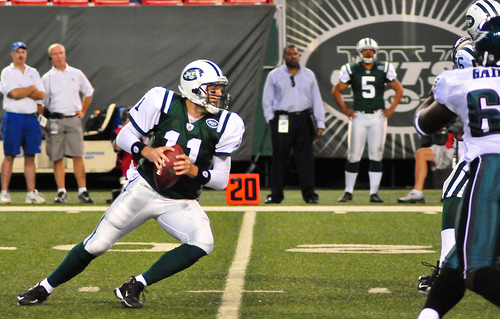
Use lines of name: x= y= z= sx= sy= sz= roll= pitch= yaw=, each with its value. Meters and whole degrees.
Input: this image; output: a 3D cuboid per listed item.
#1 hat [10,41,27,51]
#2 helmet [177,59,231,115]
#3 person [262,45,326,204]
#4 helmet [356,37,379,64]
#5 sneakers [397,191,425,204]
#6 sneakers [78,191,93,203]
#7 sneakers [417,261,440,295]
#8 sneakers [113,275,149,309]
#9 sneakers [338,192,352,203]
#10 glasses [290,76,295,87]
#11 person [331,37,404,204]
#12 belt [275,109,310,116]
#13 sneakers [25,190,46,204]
hat: x=-2.848 y=-1.402 z=9.734 sx=0.149 sy=0.095 sz=0.233 roll=-1 pitch=11 yaw=-8
helmet: x=-0.389 y=-0.655 z=6.832 sx=0.473 sy=0.477 sz=0.384 roll=4 pitch=14 yaw=21
person: x=0.536 y=-0.442 z=10.032 sx=0.781 sy=1.994 sz=0.473 roll=1 pitch=10 yaw=4
helmet: x=1.478 y=-1.371 z=9.992 sx=0.270 sy=0.337 sz=0.336 roll=-1 pitch=-4 yaw=18
sneakers: x=2.061 y=0.488 z=10.131 sx=0.369 sy=0.200 sz=0.144 roll=1 pitch=2 yaw=-2
sneakers: x=-2.083 y=0.490 z=10.048 sx=0.093 sy=0.118 sz=0.237 roll=0 pitch=1 yaw=-39
sneakers: x=1.545 y=0.988 z=6.732 sx=0.108 sy=0.235 sz=0.329 roll=-4 pitch=-6 yaw=-26
sneakers: x=-0.990 y=1.076 z=6.484 sx=0.222 sy=0.306 sz=0.110 roll=-36 pitch=36 yaw=-2
sneakers: x=1.224 y=0.494 z=10.250 sx=0.084 sy=0.100 sz=0.228 roll=-1 pitch=-4 yaw=33
glasses: x=0.527 y=-0.996 z=9.927 sx=0.032 sy=0.083 sz=0.109 roll=-10 pitch=-26 yaw=-9
person: x=1.479 y=-0.493 z=10.103 sx=0.864 sy=2.110 sz=0.404 roll=2 pitch=10 yaw=6
belt: x=0.535 y=-0.606 z=9.979 sx=0.460 sy=0.074 sz=0.111 roll=-1 pitch=11 yaw=-8
sneakers: x=-2.674 y=0.467 z=10.000 sx=0.328 sy=0.232 sz=0.132 roll=2 pitch=4 yaw=-14
